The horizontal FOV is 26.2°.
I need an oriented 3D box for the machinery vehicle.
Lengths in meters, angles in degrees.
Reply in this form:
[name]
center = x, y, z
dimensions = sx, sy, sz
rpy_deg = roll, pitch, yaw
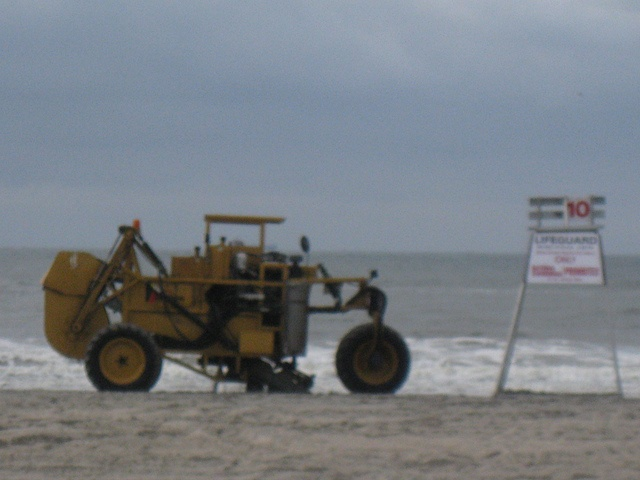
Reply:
[machinery vehicle]
center = -2.013, 1.358, 30.195
dimensions = 7.274, 4.076, 3.701
rpy_deg = 0, -2, -10
